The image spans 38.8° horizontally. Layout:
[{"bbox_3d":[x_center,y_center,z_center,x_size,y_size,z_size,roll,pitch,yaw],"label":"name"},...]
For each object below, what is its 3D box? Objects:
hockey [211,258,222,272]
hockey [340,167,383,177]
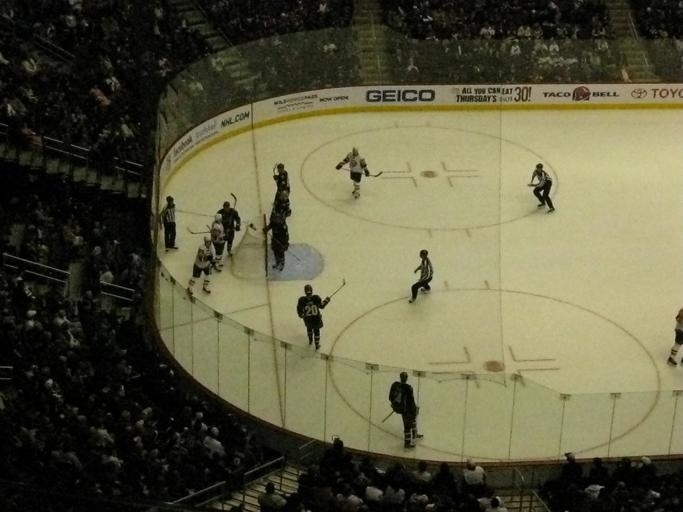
[{"bbox_3d":[-3.004,0.217,23.509,0.299,0.261,0.132,-18,53,-29],"label":"hockey"},{"bbox_3d":[0.538,-2.384,27.652,0.971,0.272,0.049,2,13,34],"label":"hockey"}]
